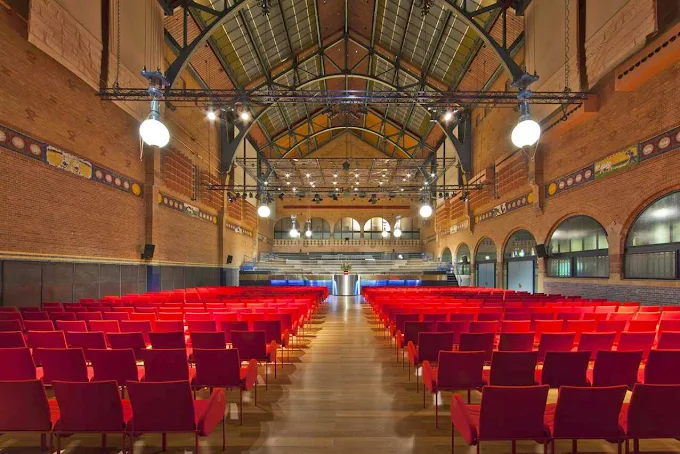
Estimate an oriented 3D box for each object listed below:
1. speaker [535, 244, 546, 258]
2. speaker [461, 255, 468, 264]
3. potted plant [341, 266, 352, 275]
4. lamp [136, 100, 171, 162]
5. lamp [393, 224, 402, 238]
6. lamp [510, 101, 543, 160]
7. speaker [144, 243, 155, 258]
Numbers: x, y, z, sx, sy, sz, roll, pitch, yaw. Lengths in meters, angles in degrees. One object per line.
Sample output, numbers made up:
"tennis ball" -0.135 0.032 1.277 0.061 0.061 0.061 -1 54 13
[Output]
"speaker" 8.682 1.064 22.564 0.128 0.491 0.504 2 -4 -17
"speaker" 7.823 2.095 32.566 0.350 0.686 0.361 10 -11 -11
"potted plant" 0.360 2.517 30.283 0.524 0.618 0.571 1 -30 0
"lamp" -5.266 -2.999 14.899 0.731 1.747 0.859 -2 -21 -11
"lamp" 4.828 0.404 44.286 0.633 1.534 0.664 4 -21 -5
"lamp" 5.409 -3.031 15.264 0.749 1.404 0.698 -2 -7 19
"speaker" -8.196 1.062 22.515 0.350 0.592 0.539 1 -7 -12
